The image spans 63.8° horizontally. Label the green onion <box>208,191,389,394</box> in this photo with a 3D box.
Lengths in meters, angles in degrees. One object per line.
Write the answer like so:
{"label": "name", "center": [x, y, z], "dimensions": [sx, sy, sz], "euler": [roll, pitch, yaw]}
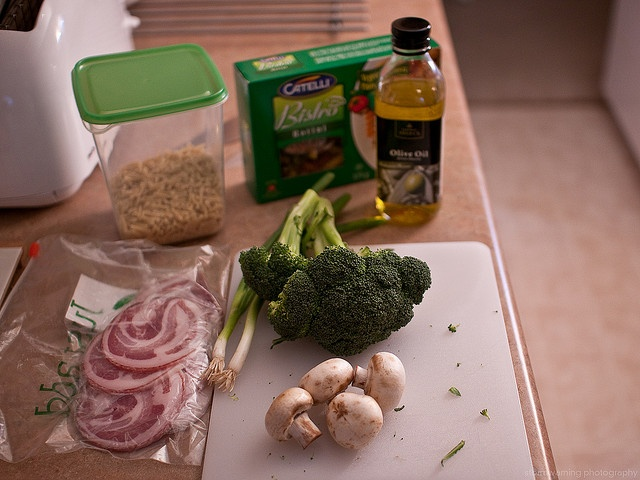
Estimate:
{"label": "green onion", "center": [-0.051, 0.046, 1.122], "dimensions": [0.171, 0.087, 0.558], "euler": [27, 51, 12]}

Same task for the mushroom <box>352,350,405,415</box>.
{"label": "mushroom", "center": [0.112, 0.241, 0.890], "dimensions": [0.077, 0.102, 0.093], "euler": [-8, 28, -19]}

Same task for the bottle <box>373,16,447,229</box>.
{"label": "bottle", "center": [0.202, -0.250, 1.136], "dimensions": [0.137, 0.421, 0.193], "euler": [4, 39, 12]}

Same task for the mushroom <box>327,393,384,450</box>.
{"label": "mushroom", "center": [0.052, 0.305, 0.892], "dimensions": [0.092, 0.105, 0.099], "euler": [-5, 14, -8]}

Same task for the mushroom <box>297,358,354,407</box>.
{"label": "mushroom", "center": [0.012, 0.235, 0.922], "dimensions": [0.045, 0.076, 0.080], "euler": [54, 39, -1]}
